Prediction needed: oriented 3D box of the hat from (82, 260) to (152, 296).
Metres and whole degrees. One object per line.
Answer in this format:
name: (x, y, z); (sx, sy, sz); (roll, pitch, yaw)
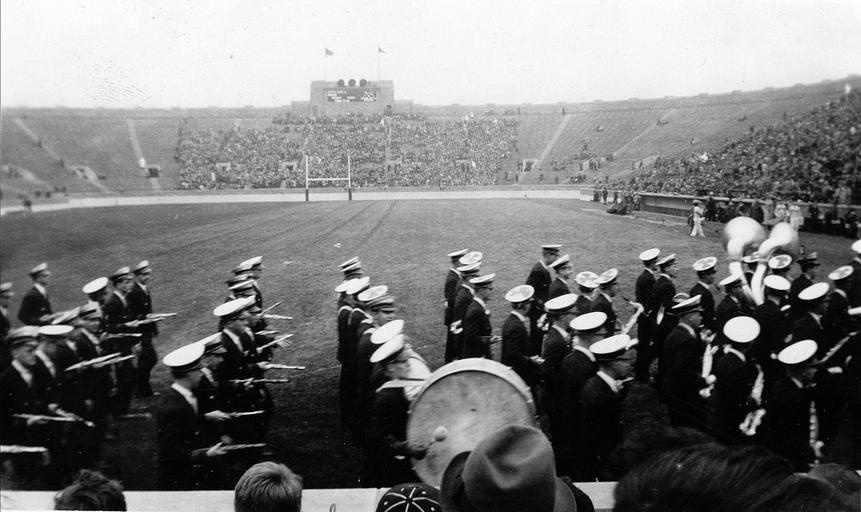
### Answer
hat: (-3.985, 0.296, 9.956); (0.825, 0.397, 0.236); (-4, 14, -19)

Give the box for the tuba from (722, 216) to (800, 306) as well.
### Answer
tuba: (4.465, 0.043, 10.731); (1.554, 1.031, 0.909); (2, -1, 15)
